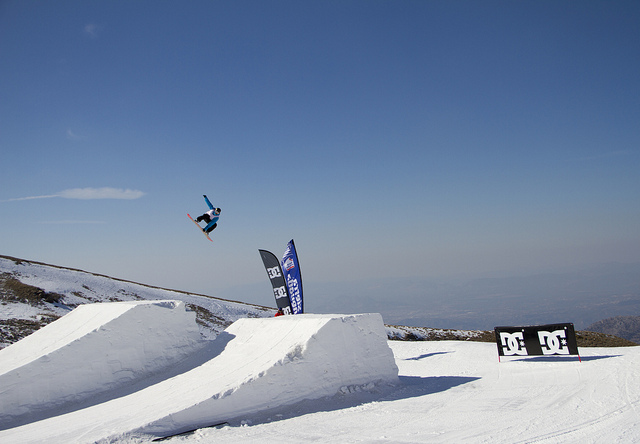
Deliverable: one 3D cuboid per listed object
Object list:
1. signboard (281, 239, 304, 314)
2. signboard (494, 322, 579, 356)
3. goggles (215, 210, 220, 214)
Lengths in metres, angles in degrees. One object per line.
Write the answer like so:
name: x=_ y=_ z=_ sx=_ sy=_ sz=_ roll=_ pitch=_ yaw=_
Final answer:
signboard: x=-1.319 y=2.625 z=23.770 sx=0.601 sy=3.508 sz=1.173 roll=0 pitch=0 yaw=-25
signboard: x=9.408 y=5.270 z=21.621 sx=0.051 sy=1.350 sz=3.677 roll=14 pitch=-22 yaw=-36
goggles: x=-5.087 y=-0.504 z=24.249 sx=0.209 sy=0.186 sz=0.073 roll=-1 pitch=0 yaw=-30
